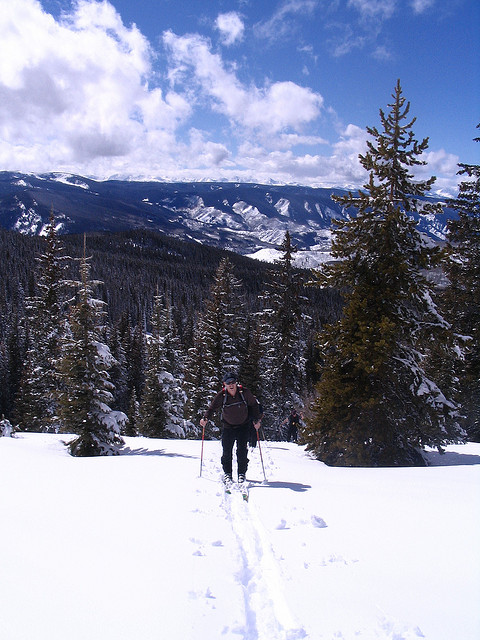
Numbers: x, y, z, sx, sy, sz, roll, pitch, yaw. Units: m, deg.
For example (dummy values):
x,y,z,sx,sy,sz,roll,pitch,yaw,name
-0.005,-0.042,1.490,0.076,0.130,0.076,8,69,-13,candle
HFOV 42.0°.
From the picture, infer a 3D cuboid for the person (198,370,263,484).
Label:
x,y,z,sx,sy,sz,roll,pitch,yaw,name
-0.144,2.039,11.830,1.048,2.166,0.616,2,10,1,person
